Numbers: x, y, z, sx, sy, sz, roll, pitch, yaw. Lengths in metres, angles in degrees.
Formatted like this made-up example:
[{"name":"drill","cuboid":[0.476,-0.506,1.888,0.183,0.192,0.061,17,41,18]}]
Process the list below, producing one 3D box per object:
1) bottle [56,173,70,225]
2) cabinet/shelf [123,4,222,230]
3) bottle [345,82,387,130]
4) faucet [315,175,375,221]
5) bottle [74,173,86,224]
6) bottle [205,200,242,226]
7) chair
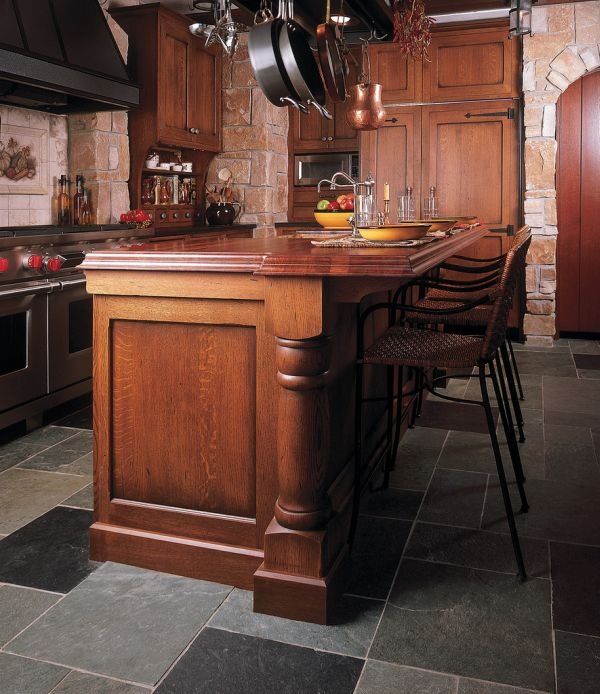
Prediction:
[{"name":"bottle","cuboid":[-1.660,-1.041,4.061,0.097,0.365,0.285,-2,6,-21]},{"name":"cabinet/shelf","cuboid":[-1.014,-1.802,4.767,0.532,1.591,1.143,1,6,11]},{"name":"bottle","cuboid":[0.380,-1.366,3.241,0.194,0.278,0.221,2,10,12]},{"name":"faucet","cuboid":[0.153,-0.479,1.875,0.182,0.232,0.073,-3,55,2]},{"name":"bottle","cuboid":[-1.511,-1.017,3.975,0.082,0.334,0.197,-2,6,-23]},{"name":"bottle","cuboid":[-0.699,-1.218,5.371,0.226,0.201,0.295,-1,1,22]},{"name":"chair","cuboid":[0.536,0.229,2.161,0.426,0.794,1.206,2,8,16]}]
